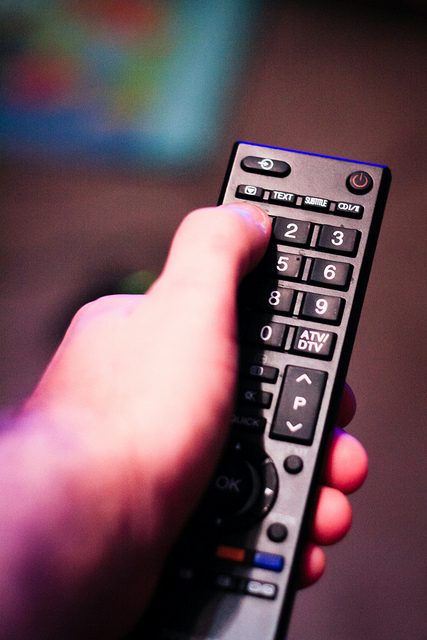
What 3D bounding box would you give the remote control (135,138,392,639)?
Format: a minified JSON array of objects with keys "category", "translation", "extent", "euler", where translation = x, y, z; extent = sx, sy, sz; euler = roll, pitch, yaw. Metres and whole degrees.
[{"category":"remote control","translation":[0.036,0.002,0.342],"extent":[0.097,0.042,0.327],"euler":[15,77,8]}]
